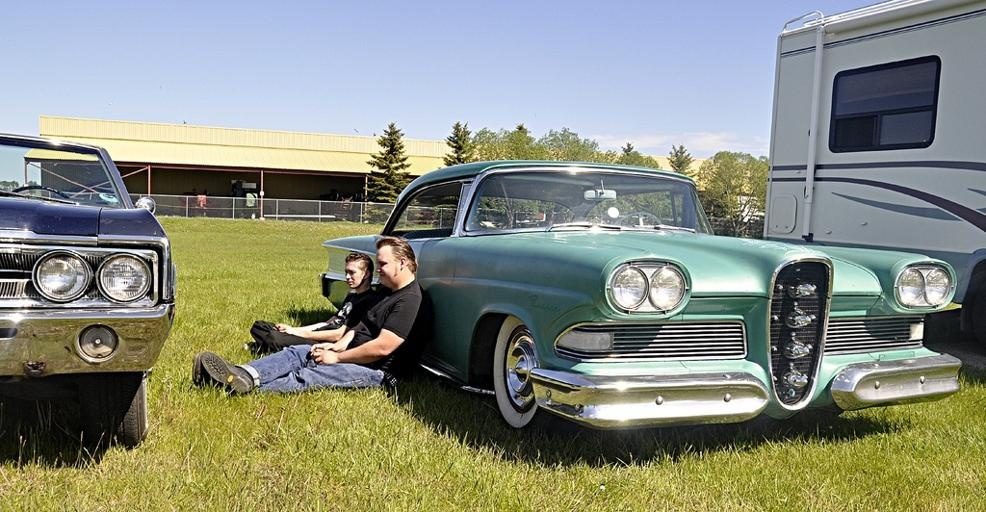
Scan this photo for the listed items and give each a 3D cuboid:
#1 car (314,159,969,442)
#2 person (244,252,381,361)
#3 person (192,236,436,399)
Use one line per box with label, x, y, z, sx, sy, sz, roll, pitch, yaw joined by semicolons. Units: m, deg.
car;1.636;0.311;6.598;5.152;2.521;2.415;1;7;1
person;-2.076;0.614;7.712;1.579;1.069;0.667;-1;9;-17
person;-1.791;0.671;6.781;1.025;1.336;2.502;14;14;39
